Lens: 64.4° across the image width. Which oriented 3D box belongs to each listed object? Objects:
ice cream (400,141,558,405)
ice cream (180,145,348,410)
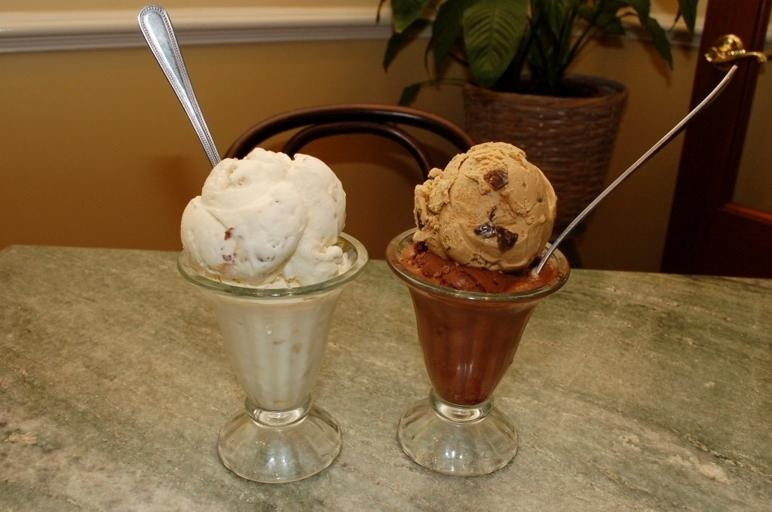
[{"bbox_3d":[0.217,0.073,1.312,0.404,0.544,0.371,6,4,-11],"label":"ice cream"},{"bbox_3d":[-0.249,0.042,1.223,0.303,0.476,0.244,-4,19,-30],"label":"ice cream"}]
